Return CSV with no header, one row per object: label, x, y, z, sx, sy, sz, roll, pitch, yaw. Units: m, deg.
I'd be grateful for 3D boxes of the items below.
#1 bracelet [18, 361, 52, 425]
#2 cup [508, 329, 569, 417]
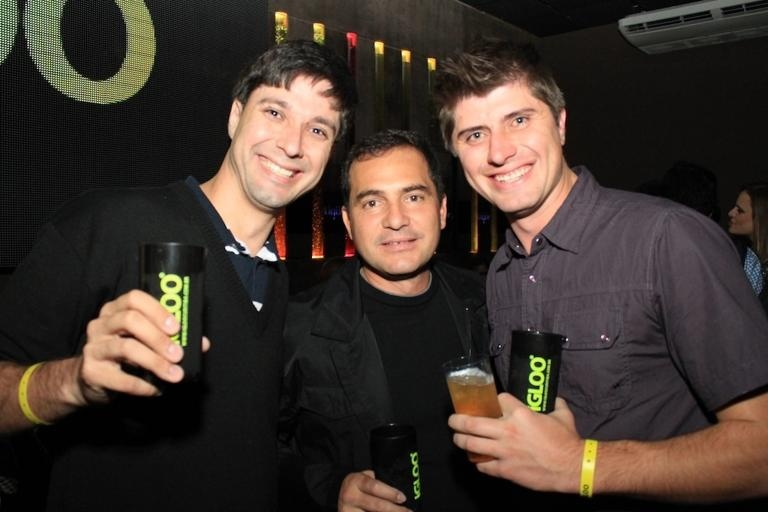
bracelet,-1.317,0.531,2.144,0.097,0.225,0.078,-5,8,-11
cup,0.589,0.459,2.229,0.206,0.329,0.105,-2,8,12
